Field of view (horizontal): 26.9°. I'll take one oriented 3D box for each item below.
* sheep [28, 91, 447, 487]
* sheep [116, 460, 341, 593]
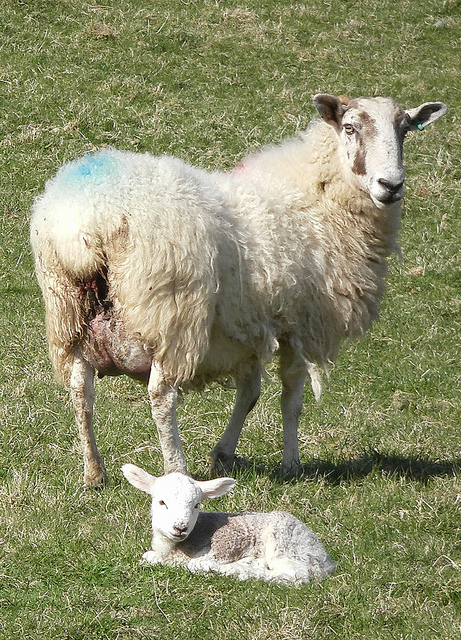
[{"bbox_3d":[-0.004,-0.199,5.782,2.157,2.411,0.933,-3,13,-36],"label":"sheep"},{"bbox_3d":[0.001,1.002,4.692,1.082,0.493,0.504,14,-14,-12],"label":"sheep"}]
